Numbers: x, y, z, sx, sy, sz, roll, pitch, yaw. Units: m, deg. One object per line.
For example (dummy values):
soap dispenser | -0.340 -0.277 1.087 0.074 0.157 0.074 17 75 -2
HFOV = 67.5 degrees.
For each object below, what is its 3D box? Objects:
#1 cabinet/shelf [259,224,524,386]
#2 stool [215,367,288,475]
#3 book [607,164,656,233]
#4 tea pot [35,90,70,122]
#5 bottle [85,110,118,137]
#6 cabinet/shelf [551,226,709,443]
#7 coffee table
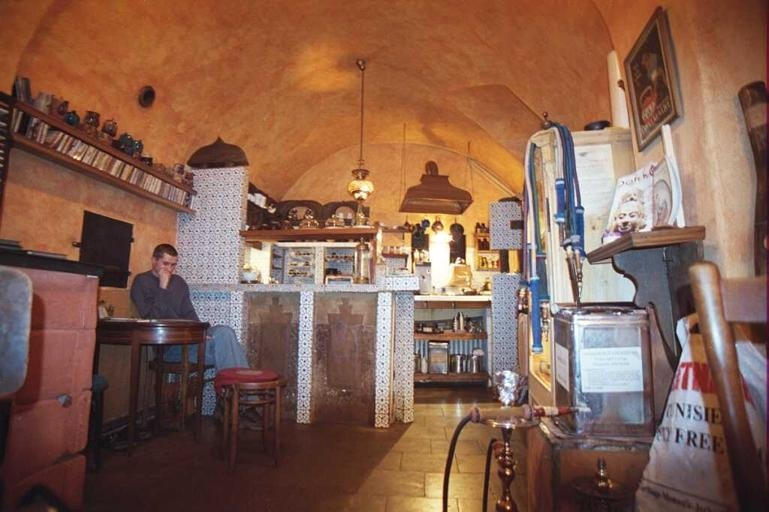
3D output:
cabinet/shelf | 0.301 0.862 7.471 2.903 1.820 2.691 -1 -7 2
stool | -1.242 1.384 5.115 0.710 0.907 0.820 2 -8 -23
book | 1.879 -0.432 4.370 0.073 0.655 0.501 20 -21 -18
tea pot | -3.020 -1.390 5.307 0.252 0.264 0.271 10 19 -3
bottle | -2.859 -1.332 5.786 0.327 0.317 0.202 2 -1 -15
cabinet/shelf | 1.635 0.544 3.802 0.431 1.146 1.216 3 -11 10
coffee table | -2.235 1.112 5.606 1.146 1.236 1.121 0 0 40
